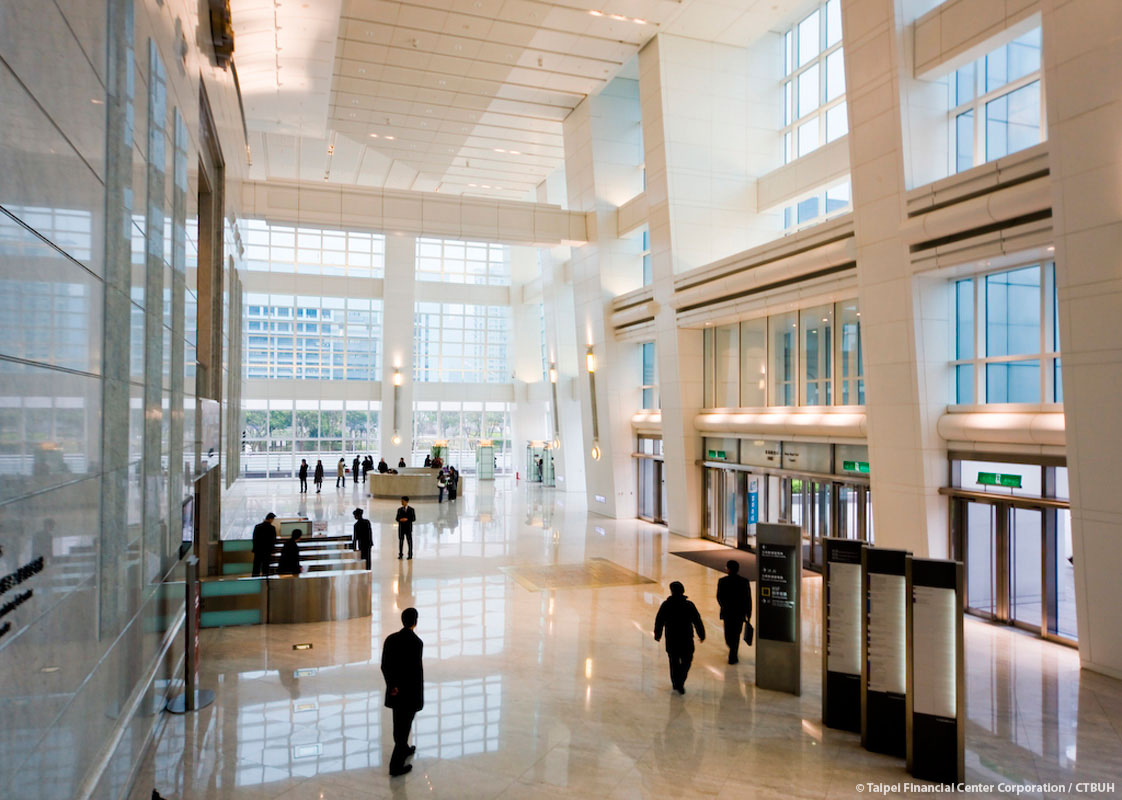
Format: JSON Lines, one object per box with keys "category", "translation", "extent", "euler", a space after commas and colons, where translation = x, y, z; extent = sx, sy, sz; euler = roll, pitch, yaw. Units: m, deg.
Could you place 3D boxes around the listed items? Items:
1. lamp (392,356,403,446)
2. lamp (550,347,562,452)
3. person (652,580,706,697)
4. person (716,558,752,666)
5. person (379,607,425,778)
{"category": "lamp", "translation": [-6.878, 0.059, 35.010], "extent": [0.454, 3.527, 0.397], "euler": [0, 2, -11]}
{"category": "lamp", "translation": [-0.201, 0.050, 31.793], "extent": [0.234, 3.616, 1.003], "euler": [0, 2, -12]}
{"category": "person", "translation": [1.544, 3.061, 10.845], "extent": [0.598, 1.377, 0.621], "euler": [1, 2, 7]}
{"category": "person", "translation": [2.512, 3.027, 12.018], "extent": [0.459, 1.416, 0.848], "euler": [1, 2, 12]}
{"category": "person", "translation": [-1.726, 3.134, 9.027], "extent": [0.419, 1.627, 0.686], "euler": [0, 2, -12]}
